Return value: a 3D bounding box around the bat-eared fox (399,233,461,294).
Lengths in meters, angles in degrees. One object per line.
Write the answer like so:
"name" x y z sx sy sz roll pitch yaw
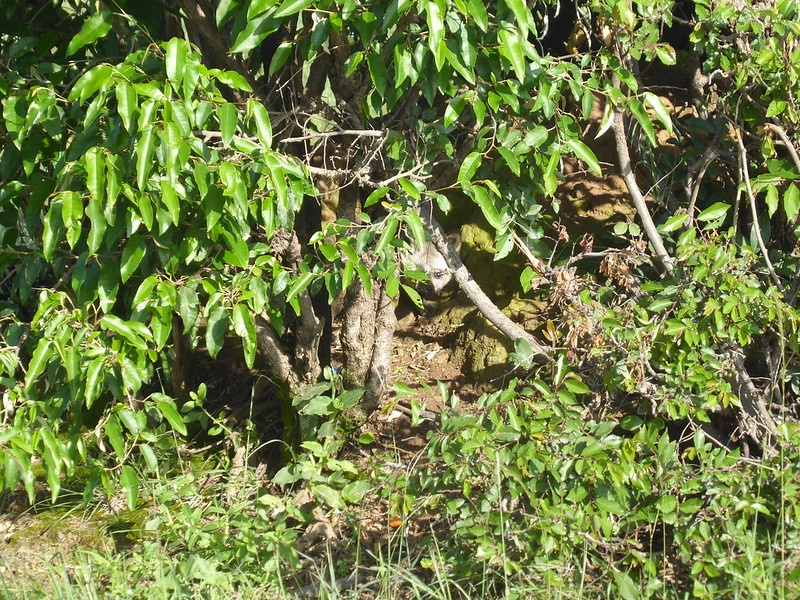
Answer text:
"bat-eared fox" 0.213 -0.202 6.785 0.317 0.428 0.299 -4 17 -3
